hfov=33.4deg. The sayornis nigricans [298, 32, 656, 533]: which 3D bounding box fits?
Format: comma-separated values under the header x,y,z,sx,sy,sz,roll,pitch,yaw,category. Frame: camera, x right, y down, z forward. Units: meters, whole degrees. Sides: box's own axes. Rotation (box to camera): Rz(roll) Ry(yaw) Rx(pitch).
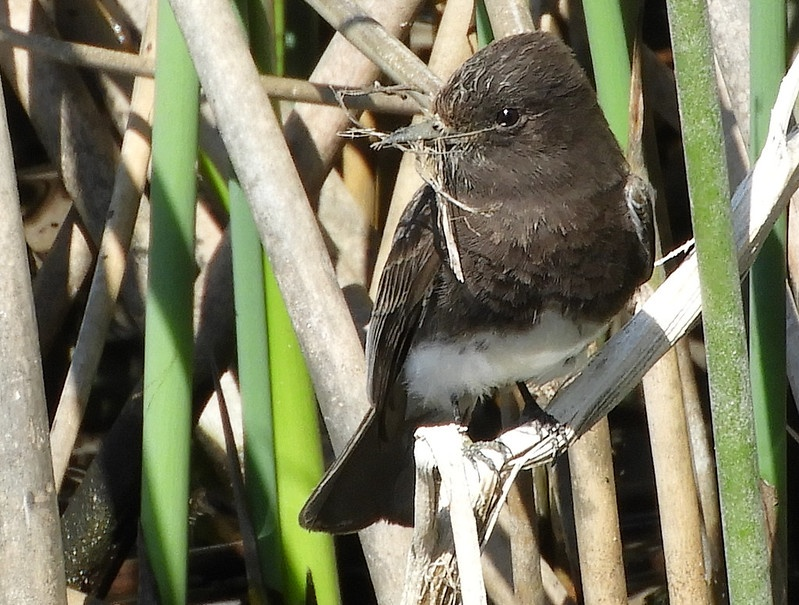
x,y,z,sx,sy,sz,roll,pitch,yaw,category
0.226,-0.144,3.349,0.530,1.045,0.914,-9,12,-22,sayornis nigricans
